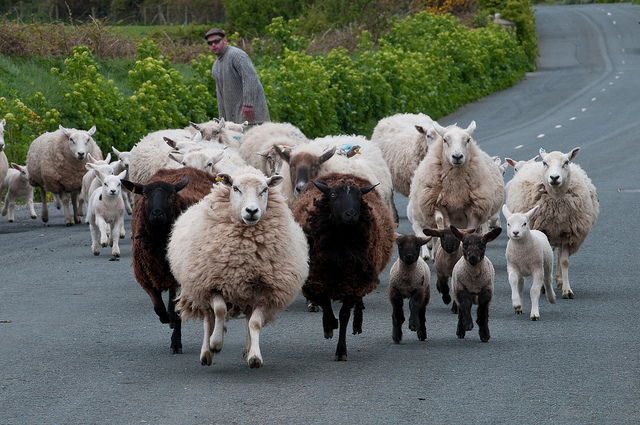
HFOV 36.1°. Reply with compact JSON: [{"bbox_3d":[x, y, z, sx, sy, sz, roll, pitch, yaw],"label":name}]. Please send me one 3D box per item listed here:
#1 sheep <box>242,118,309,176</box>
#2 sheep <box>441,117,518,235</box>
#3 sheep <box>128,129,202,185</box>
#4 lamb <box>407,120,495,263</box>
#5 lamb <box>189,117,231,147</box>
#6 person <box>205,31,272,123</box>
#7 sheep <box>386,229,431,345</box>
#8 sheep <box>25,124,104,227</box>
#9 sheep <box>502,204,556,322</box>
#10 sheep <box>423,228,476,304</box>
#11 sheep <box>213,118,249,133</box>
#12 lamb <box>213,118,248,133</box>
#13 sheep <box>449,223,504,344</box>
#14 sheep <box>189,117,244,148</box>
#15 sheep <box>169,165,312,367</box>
[{"bbox_3d":[-0.785,-1.196,17.425,0.855,0.787,1.491,-7,16,-10],"label":"sheep"},{"bbox_3d":[2.673,-0.530,18.207,1.515,2.022,4.232,1,0,17],"label":"sheep"},{"bbox_3d":[-2.696,-1.041,18.439,0.907,1.091,1.609,1,3,-39],"label":"sheep"},{"bbox_3d":[2.652,-0.102,17.786,1.382,1.861,2.627,0,-26,0],"label":"lamb"},{"bbox_3d":[-2.041,-1.459,18.125,0.418,0.483,0.649,-9,6,1],"label":"lamb"},{"bbox_3d":[-1.655,-2.681,19.617,1.066,1.801,0.866,-3,5,-4],"label":"person"},{"bbox_3d":[1.282,1.043,13.971,0.628,1.433,1.166,-2,5,6],"label":"sheep"},{"bbox_3d":[-5.869,-0.800,22.388,1.580,2.219,3.203,-1,2,-31],"label":"sheep"},{"bbox_3d":[3.166,0.758,14.847,0.699,1.524,1.309,-1,5,19],"label":"sheep"},{"bbox_3d":[1.995,0.810,15.525,0.746,1.185,2.030,0,4,7],"label":"sheep"},{"bbox_3d":[-1.698,-1.682,19.359,0.650,0.328,0.292,11,-3,-30],"label":"sheep"},{"bbox_3d":[-1.762,-1.674,19.395,0.657,0.326,0.285,8,2,-3],"label":"lamb"},{"bbox_3d":[2.305,1.078,14.413,0.846,1.582,2.221,0,-9,9],"label":"sheep"},{"bbox_3d":[-1.908,-1.454,18.254,0.461,0.581,1.151,-24,-1,7],"label":"sheep"},{"bbox_3d":[-1.060,0.707,12.915,1.789,2.528,1.082,-4,5,-7],"label":"sheep"}]
